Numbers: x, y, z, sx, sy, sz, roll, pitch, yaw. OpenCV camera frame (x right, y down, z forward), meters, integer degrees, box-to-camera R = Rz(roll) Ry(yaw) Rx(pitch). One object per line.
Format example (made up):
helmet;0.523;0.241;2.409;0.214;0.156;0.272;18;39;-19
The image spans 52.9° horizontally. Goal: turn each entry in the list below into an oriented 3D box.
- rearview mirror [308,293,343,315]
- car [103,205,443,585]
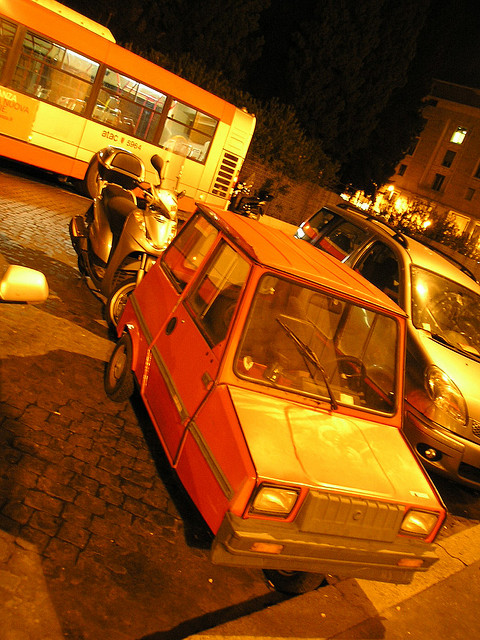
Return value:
rearview mirror;0.558;-0.108;3.107;0.181;0.063;0.127;26;-14;-23
car;0.153;0.317;3.322;1.561;1.431;2.644;18;16;-25
